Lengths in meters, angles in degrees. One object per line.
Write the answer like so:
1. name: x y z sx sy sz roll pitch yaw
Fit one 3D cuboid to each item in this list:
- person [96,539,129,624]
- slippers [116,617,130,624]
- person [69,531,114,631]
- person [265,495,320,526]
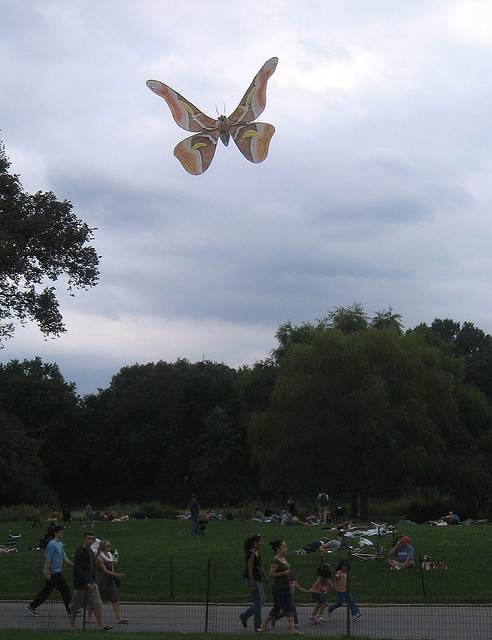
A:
1. person: -2.472 4.788 17.184 0.796 1.475 0.521 -6 -6 19
2. slippers: -2.173 5.351 16.707 0.228 0.160 0.078 -7 -15 42
3. person: -2.733 4.532 16.591 0.777 1.682 0.666 2 -9 -14
4. person: 2.094 8.206 38.511 1.552 0.789 1.932 0 -8 6
